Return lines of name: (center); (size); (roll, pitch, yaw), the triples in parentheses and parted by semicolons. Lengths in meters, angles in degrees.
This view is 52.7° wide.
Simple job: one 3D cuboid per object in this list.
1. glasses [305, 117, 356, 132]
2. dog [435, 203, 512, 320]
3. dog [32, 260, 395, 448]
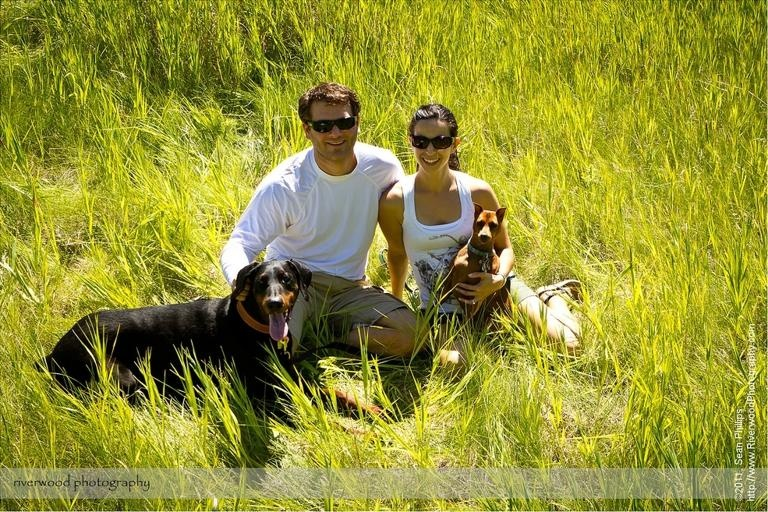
glasses: (-0.444, -1.126, 6.644); (0.403, 0.122, 0.114); (-5, 10, -8)
dog: (0.793, 0.071, 6.698); (0.629, 1.035, 0.435); (-5, 10, -14)
dog: (-1.584, 0.688, 6.588); (2.583, 1.343, 1.020); (0, 17, 14)
